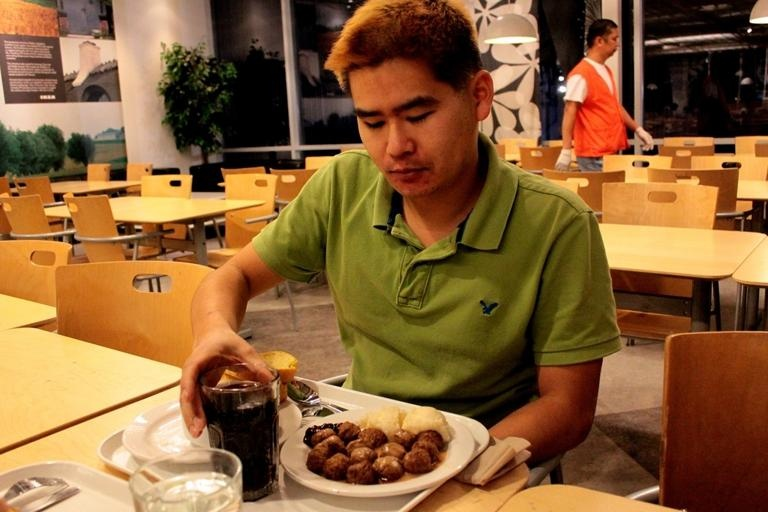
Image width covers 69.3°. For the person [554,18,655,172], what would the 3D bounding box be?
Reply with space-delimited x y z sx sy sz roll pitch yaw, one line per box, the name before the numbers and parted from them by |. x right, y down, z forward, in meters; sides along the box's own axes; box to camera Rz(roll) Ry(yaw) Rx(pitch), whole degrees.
person | 1.918 -1.374 5.046 0.883 1.519 0.333 7 18 29

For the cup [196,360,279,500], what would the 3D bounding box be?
cup | -0.217 0.273 0.983 0.151 0.206 0.189 4 11 33

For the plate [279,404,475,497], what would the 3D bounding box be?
plate | -0.010 0.364 1.009 0.350 0.061 0.202 -5 10 -13

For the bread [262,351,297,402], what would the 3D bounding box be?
bread | -0.213 0.236 1.159 0.100 0.096 0.097 5 10 -7

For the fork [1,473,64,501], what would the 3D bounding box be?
fork | -0.607 0.392 0.967 0.114 0.028 0.029 4 20 -42

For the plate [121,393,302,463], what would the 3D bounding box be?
plate | -0.430 0.341 1.061 0.172 0.028 0.169 -6 5 -9

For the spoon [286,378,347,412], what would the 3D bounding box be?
spoon | -0.159 0.304 1.205 0.048 0.034 0.210 -2 16 -38
